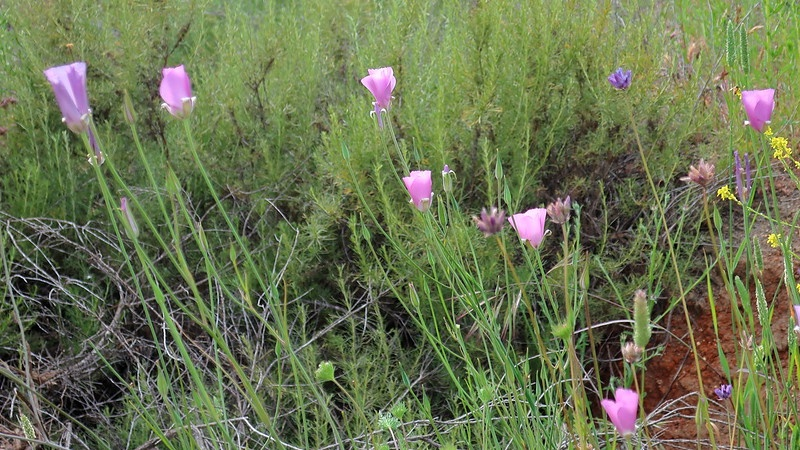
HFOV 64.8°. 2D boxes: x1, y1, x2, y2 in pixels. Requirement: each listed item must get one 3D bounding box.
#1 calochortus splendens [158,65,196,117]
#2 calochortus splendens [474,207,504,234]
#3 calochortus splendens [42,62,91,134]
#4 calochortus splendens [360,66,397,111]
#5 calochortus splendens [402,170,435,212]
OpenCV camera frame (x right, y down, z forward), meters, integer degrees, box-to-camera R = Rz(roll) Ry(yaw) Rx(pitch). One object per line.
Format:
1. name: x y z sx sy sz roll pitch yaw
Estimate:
1. calochortus splendens: -1.007 -0.575 2.848 0.133 0.239 0.148 -19 7 -5
2. calochortus splendens: 0.391 -0.019 2.788 0.099 0.122 0.106 -11 10 8
3. calochortus splendens: -1.387 -0.535 2.678 0.160 0.272 0.198 -15 29 -25
4. calochortus splendens: -0.095 -0.694 3.229 0.165 0.210 0.192 -5 5 19
5. calochortus splendens: 0.087 -0.169 2.984 0.124 0.199 0.191 2 27 9
